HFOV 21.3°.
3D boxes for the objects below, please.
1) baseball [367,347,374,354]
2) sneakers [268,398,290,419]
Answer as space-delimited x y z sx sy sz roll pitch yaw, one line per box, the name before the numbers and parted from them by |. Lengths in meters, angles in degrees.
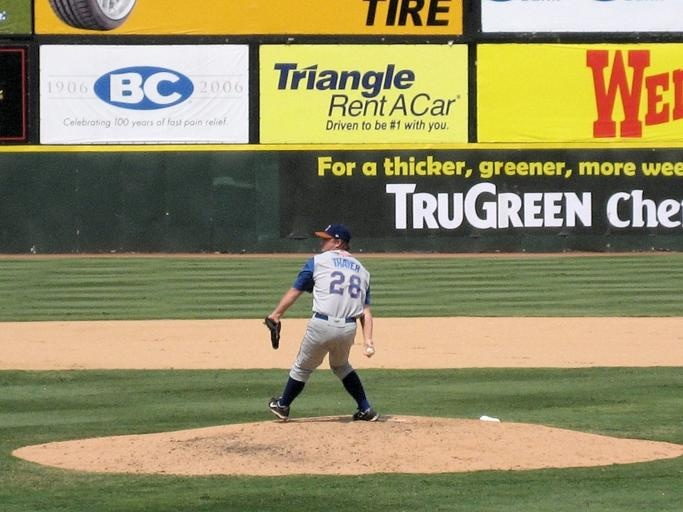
baseball | 0.658 2.211 41.742 0.119 0.166 0.057 -3 0 -1
sneakers | -1.436 3.601 41.820 0.266 0.295 0.685 16 21 -44
